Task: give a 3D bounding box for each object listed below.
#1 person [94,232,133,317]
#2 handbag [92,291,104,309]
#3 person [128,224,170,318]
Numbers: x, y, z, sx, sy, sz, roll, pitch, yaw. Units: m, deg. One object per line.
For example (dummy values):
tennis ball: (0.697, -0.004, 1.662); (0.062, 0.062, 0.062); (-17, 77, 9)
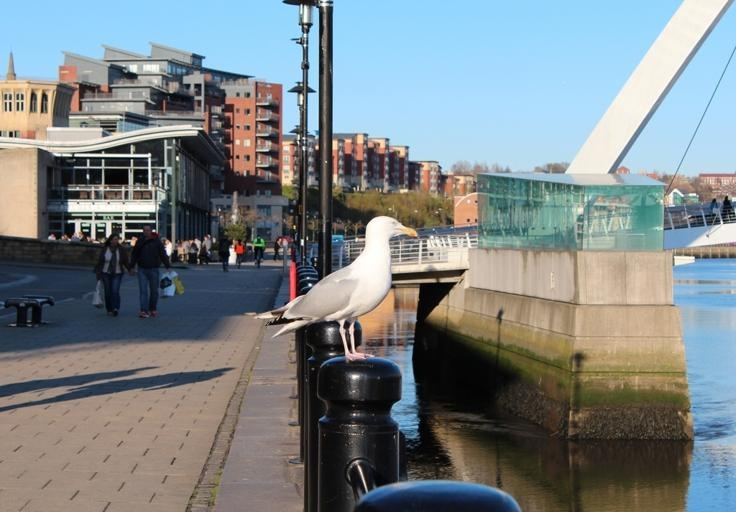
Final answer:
person: (-7.595, 0.399, 38.721); (0.935, 2.490, 0.846); (4, 12, -7)
handbag: (-7.984, 1.190, 38.664); (0.316, 0.458, 0.822); (7, 5, -13)
person: (-6.493, 0.346, 38.780); (1.073, 2.790, 1.229); (0, 0, -9)
